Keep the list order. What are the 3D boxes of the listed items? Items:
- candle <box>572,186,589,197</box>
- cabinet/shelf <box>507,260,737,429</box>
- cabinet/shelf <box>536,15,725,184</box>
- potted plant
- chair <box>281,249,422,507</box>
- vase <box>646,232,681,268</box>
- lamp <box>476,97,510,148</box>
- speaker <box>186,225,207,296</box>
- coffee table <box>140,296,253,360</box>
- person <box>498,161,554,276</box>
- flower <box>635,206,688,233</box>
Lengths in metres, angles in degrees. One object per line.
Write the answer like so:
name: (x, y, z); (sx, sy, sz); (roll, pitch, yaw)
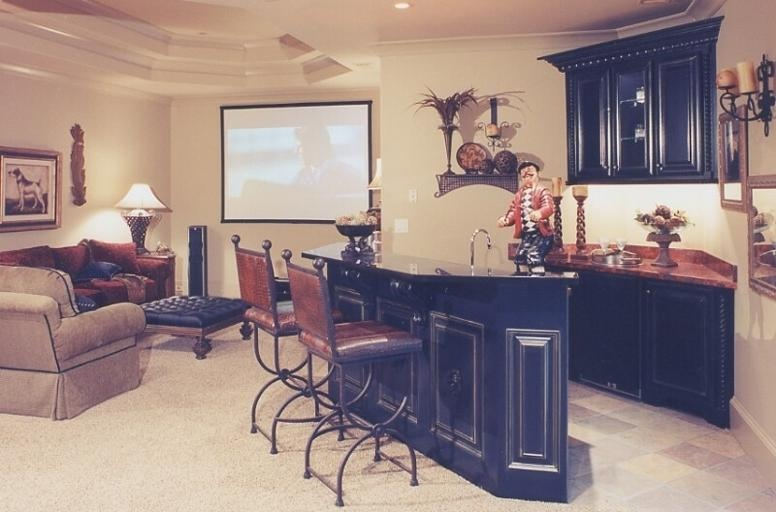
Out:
candle: (2.016, -0.686, 6.279); (0.152, 0.110, 0.178); (4, 14, 15)
cabinet/shelf: (2.086, 0.774, 5.154); (1.470, 1.180, 0.562); (3, 3, 44)
cabinet/shelf: (2.468, -1.589, 5.948); (1.864, 1.565, 0.541); (0, 1, 37)
potted plant: (0.620, -1.465, 7.179); (0.900, 0.954, 0.881); (-1, 1, -1)
chair: (-0.340, 0.799, 4.727); (1.008, 1.719, 1.267); (-5, 15, -20)
vase: (2.629, -0.070, 5.712); (0.335, 0.326, 0.332); (-4, 4, -41)
lamp: (1.219, -1.521, 6.835); (0.305, 0.592, 0.319); (-6, 15, -24)
speaker: (-2.956, 0.067, 9.288); (0.287, 1.060, 0.352); (-2, 14, -8)
coffee table: (-2.335, 0.707, 7.076); (1.046, 0.463, 1.121); (3, 7, 21)
person: (1.167, -0.359, 5.050); (0.433, 0.824, 0.430); (6, 15, 22)
flower: (2.609, -0.337, 5.744); (0.375, 0.206, 0.380); (-1, 1, -38)
